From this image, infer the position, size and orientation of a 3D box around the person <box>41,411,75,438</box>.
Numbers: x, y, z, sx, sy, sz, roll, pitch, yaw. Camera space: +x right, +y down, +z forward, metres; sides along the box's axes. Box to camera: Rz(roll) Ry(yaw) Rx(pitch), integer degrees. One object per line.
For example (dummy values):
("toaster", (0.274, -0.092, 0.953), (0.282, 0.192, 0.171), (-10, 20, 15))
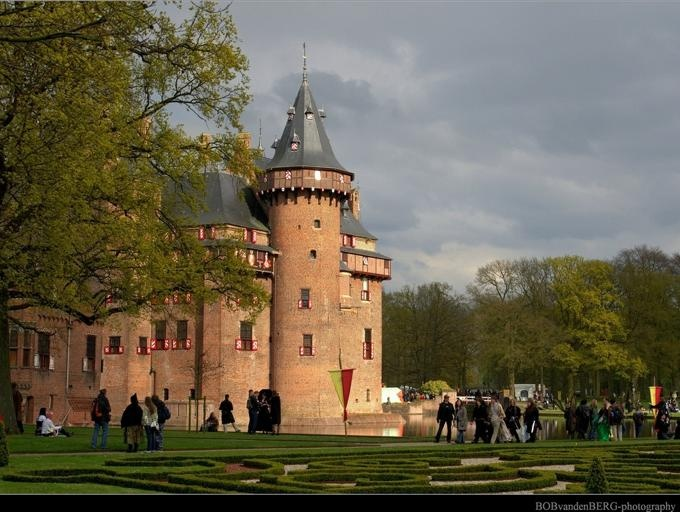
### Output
("person", (-10.625, 6.343, 50.664), (1.138, 0.860, 1.489), (4, -11, -12))

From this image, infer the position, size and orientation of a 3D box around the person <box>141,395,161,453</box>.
("person", (-6.270, 5.533, 44.817), (0.574, 1.799, 0.854), (1, -11, 4))
